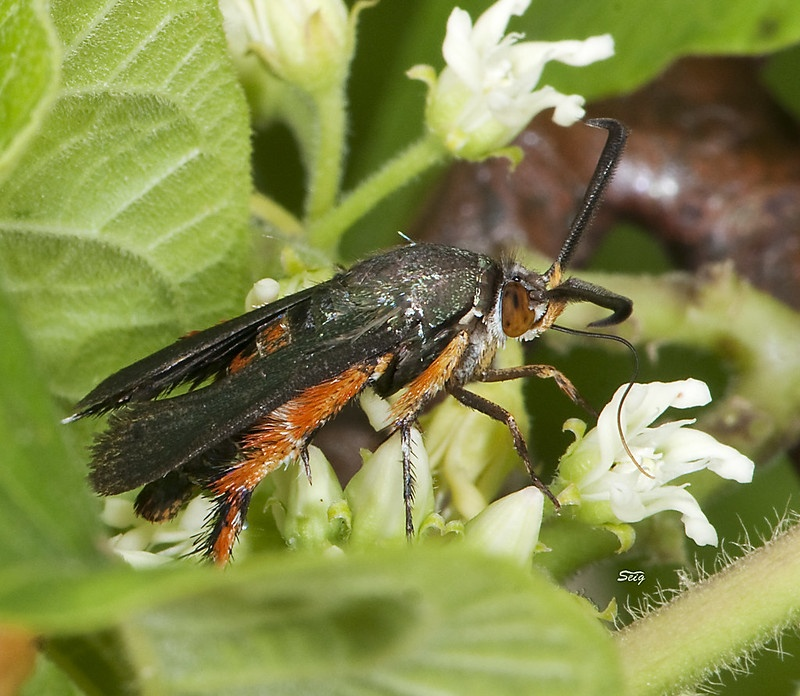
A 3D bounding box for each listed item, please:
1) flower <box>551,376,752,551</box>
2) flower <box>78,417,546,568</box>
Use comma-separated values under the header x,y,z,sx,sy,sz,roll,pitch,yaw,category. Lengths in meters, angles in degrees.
x,y,z,sx,sy,sz,roll,pitch,yaw,category
0.385,0.171,1.273,0.337,0.122,0.251,9,71,3,flower
-0.086,0.171,1.164,0.394,0.090,0.260,-3,2,3,flower
